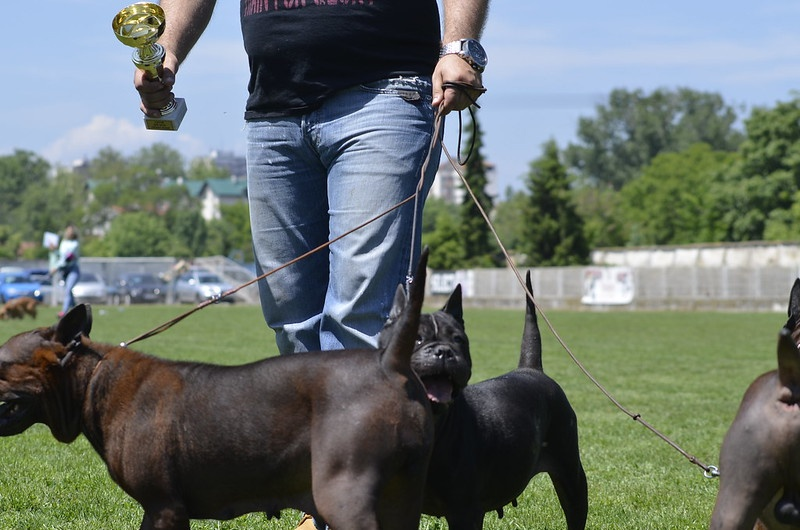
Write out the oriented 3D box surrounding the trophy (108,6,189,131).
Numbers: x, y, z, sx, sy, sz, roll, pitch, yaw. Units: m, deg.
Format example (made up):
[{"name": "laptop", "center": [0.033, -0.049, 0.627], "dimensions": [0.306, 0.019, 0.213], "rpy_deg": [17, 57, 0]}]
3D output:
[{"name": "trophy", "center": [-2.138, -1.707, 16.264], "dimensions": [0.581, 1.090, 0.672], "rpy_deg": [-2, 3, -8]}]
